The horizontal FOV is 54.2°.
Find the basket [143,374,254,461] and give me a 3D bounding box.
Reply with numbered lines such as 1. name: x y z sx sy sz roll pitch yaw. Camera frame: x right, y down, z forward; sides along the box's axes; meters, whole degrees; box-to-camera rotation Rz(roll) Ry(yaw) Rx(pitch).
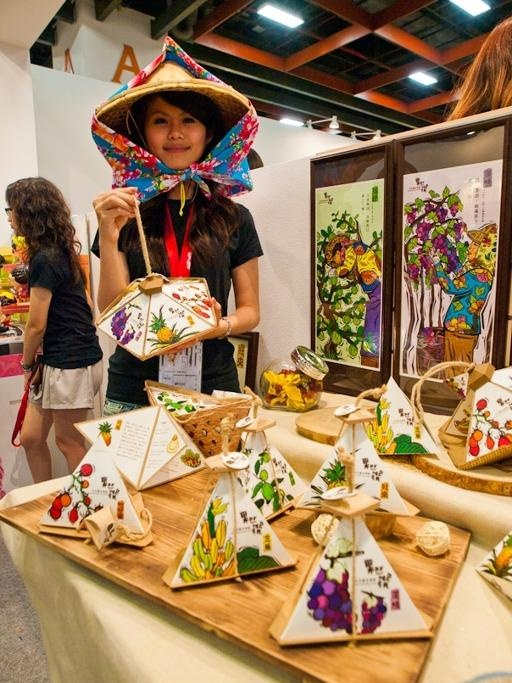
1. basket: -0.115 0.145 1.002 0.195 0.091 0.150 -1 2 -30

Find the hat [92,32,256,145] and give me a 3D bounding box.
1. hat: -0.185 -0.578 1.120 0.327 0.140 0.298 -3 7 15

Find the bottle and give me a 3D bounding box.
1. bottle: 0.119 0.145 1.563 0.174 0.167 0.179 -3 -12 -2

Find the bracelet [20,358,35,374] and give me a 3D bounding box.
1. bracelet: -1.032 0.109 2.247 0.048 0.019 0.051 -1 35 -3

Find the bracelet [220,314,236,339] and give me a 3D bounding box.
1. bracelet: -0.065 -0.037 1.182 0.036 0.045 0.018 -10 13 -28
